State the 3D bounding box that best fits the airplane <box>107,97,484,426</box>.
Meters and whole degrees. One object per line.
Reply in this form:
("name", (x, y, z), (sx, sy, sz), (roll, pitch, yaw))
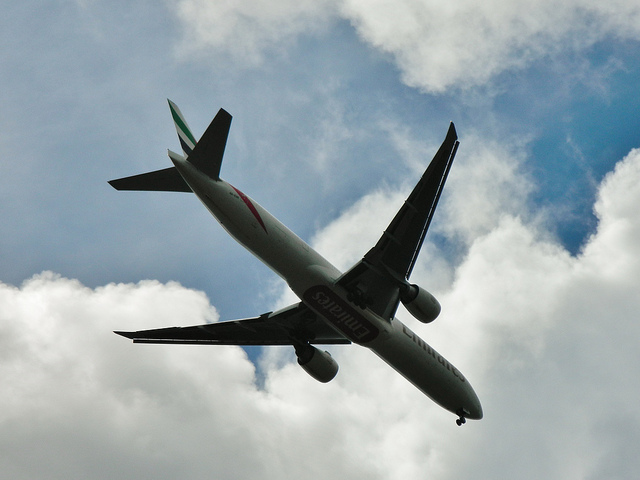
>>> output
("airplane", (-0.439, 1.875, 37.966), (14.468, 4.455, 14.514), (36, -69, -28))
